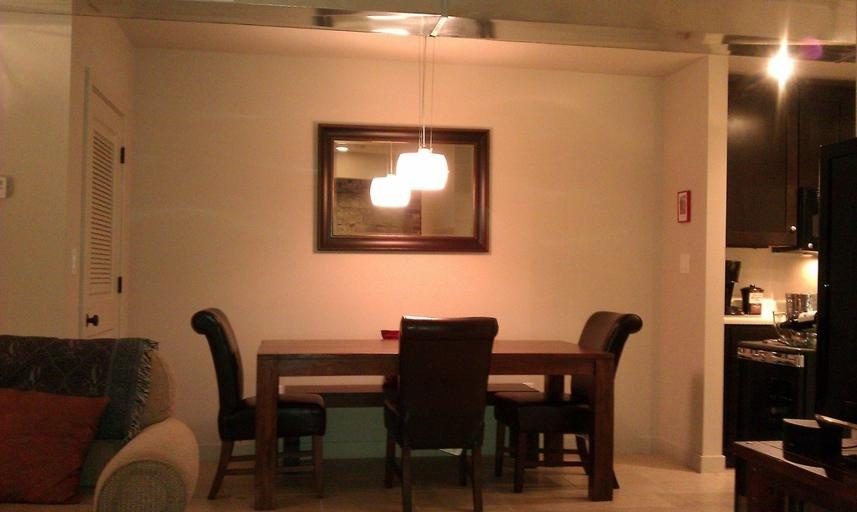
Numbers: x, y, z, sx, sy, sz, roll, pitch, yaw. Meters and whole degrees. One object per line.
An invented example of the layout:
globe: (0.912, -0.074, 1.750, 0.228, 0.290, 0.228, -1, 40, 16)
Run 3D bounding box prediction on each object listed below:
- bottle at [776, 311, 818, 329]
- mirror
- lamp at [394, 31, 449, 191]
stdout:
bottle: (2.660, 0.468, 4.898, 0.227, 0.155, 0.493, 0, -3, 9)
mirror: (-0.276, -0.555, 5.723, 1.299, 0.824, 0.051, 1, 4, -6)
lamp: (-0.028, -1.099, 5.468, 0.357, 1.221, 0.885, 0, -2, 4)
